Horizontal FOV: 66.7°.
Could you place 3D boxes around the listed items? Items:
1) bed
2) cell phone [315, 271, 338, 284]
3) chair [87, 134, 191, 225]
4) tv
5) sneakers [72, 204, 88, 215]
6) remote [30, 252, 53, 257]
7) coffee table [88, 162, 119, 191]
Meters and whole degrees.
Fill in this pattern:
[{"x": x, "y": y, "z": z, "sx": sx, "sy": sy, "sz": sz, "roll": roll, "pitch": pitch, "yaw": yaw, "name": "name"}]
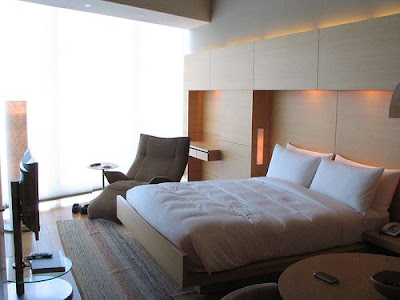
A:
[{"x": 0.496, "y": 0.739, "z": 3.086, "sx": 1.883, "sy": 0.790, "sz": 1.603, "roll": -3, "pitch": 10, "yaw": -18, "name": "bed"}, {"x": 0.802, "y": 0.804, "z": 1.929, "sx": 0.152, "sy": 0.021, "sz": 0.089, "roll": 10, "pitch": 12, "yaw": 39, "name": "cell phone"}, {"x": -0.882, "y": 0.328, "z": 4.807, "sx": 1.117, "sy": 1.112, "sz": 1.492, "roll": 6, "pitch": 7, "yaw": 38, "name": "chair"}, {"x": -1.598, "y": 0.340, "z": 2.836, "sx": 0.144, "sy": 0.673, "sz": 0.883, "roll": -2, "pitch": 11, "yaw": -32, "name": "tv"}, {"x": -1.891, "y": 0.903, "z": 4.785, "sx": 0.239, "sy": 0.131, "sz": 0.399, "roll": -1, "pitch": 10, "yaw": -21, "name": "sneakers"}, {"x": -1.423, "y": 0.939, "z": 2.725, "sx": 0.136, "sy": 0.027, "sz": 0.074, "roll": 2, "pitch": 5, "yaw": -17, "name": "remote"}, {"x": -1.590, "y": 0.431, "z": 5.137, "sx": 0.501, "sy": 0.534, "sz": 0.494, "roll": -2, "pitch": 19, "yaw": -16, "name": "coffee table"}]
